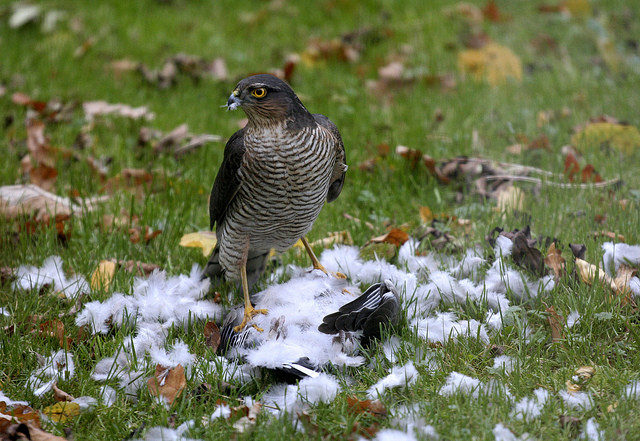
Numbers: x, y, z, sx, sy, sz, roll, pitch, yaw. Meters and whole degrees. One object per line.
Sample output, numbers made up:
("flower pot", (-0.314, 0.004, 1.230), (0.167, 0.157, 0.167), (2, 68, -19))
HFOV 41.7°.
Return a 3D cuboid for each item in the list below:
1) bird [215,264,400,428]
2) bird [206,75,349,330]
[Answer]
("bird", (-0.124, 0.771, 5.430), (1.052, 0.734, 0.891), (-7, 10, -38))
("bird", (-0.447, -0.309, 6.036), (0.865, 1.657, 1.509), (-13, 21, -27))
